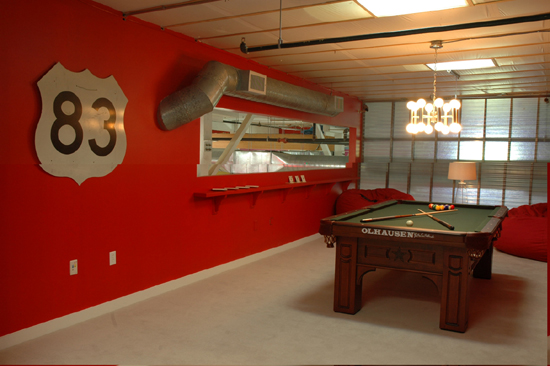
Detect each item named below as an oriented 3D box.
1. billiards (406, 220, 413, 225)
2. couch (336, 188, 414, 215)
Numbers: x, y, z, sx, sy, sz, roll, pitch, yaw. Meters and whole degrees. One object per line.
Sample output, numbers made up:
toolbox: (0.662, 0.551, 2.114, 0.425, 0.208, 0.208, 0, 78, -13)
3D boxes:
billiards: (1.734, 0.523, 4.914, 0.075, 0.050, 0.077, 4, 20, 45)
couch: (2.116, 0.379, 9.259, 1.132, 0.339, 1.109, 2, 3, 29)
